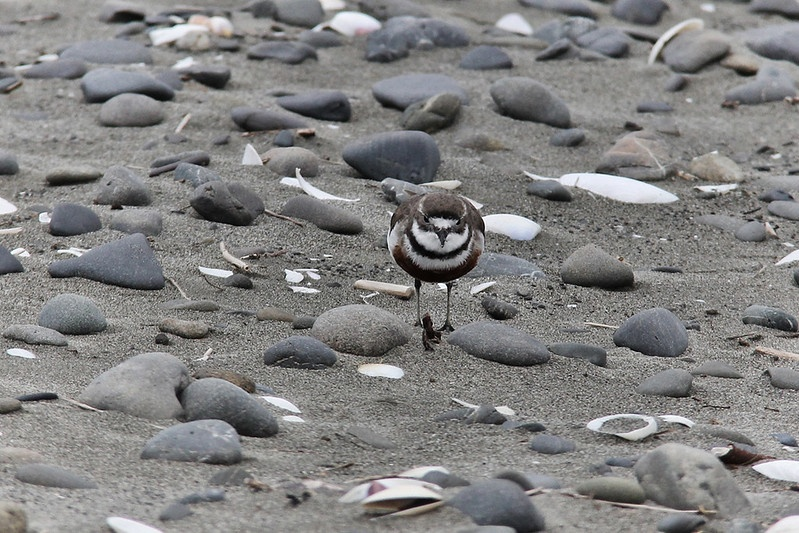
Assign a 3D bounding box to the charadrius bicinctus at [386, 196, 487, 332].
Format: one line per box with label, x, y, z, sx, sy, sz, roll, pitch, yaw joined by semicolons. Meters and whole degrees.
charadrius bicinctus;0.245;-0.220;6.331;0.628;0.465;0.539;3;59;3
